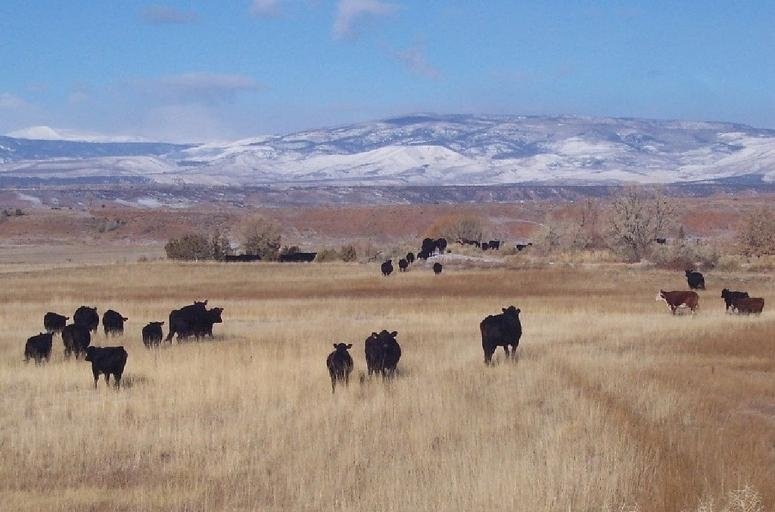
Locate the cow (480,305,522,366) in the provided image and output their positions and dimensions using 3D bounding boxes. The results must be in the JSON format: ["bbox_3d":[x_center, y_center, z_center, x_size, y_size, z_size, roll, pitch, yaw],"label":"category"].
[{"bbox_3d":[7.157,5.065,72.897,2.714,3.392,1.464,-5,6,-27],"label":"cow"}]

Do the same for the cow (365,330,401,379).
[{"bbox_3d":[-0.337,6.011,70.372,2.071,2.867,0.950,-2,6,-2],"label":"cow"}]

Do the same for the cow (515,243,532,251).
[{"bbox_3d":[16.031,-1.028,134.997,1.406,0.563,1.152,6,7,32],"label":"cow"}]
